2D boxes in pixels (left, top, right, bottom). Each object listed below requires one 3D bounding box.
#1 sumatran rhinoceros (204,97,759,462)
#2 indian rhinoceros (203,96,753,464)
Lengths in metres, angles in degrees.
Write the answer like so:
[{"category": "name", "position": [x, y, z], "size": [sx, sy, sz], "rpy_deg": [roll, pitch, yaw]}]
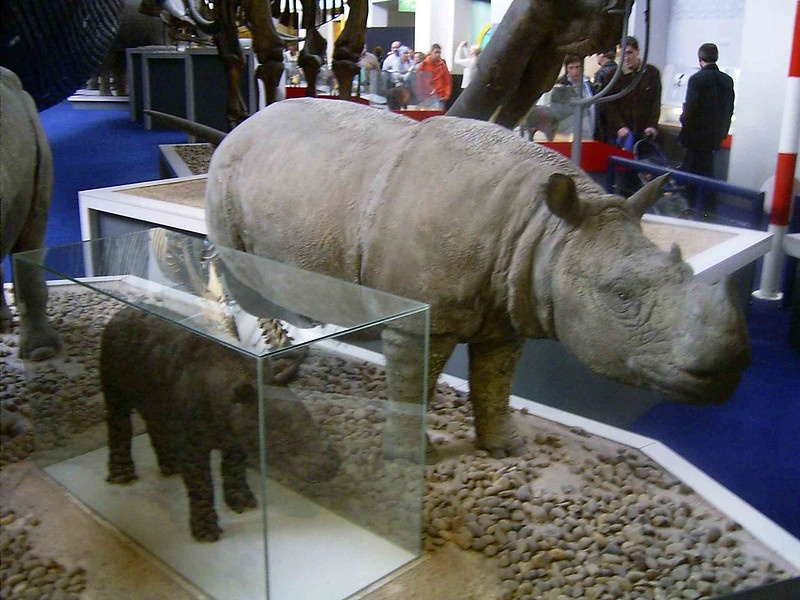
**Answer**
[{"category": "sumatran rhinoceros", "position": [0.140, -0.032, 2.350], "size": [2.138, 1.063, 0.684], "rpy_deg": [10, 13, 41]}, {"category": "indian rhinoceros", "position": [0.115, -0.362, 2.639], "size": [2.509, 1.247, 0.783], "rpy_deg": [14, 31, 27]}]
